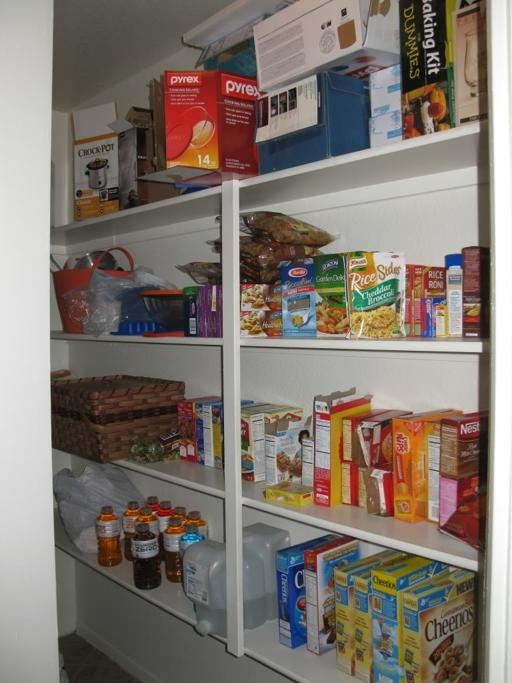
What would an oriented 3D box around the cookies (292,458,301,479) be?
[{"bbox_3d":[0.102,0.322,1.466,0.011,0.039,0.041,1,12,37],"label":"cookies"}]
